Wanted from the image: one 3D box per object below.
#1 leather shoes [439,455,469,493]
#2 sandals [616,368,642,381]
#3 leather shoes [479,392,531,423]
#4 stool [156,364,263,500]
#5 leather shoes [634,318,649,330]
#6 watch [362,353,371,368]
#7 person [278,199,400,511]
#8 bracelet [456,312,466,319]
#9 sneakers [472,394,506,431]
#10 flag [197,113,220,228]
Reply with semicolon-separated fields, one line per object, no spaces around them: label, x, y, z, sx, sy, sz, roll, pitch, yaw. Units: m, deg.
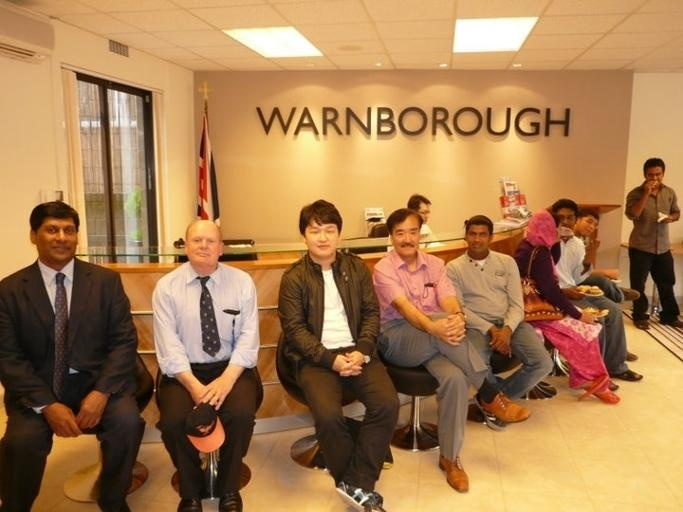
leather shoes;0.712;1.369;3.261;0.087;0.103;0.239;-4;9;-19
sandals;2.521;1.043;4.576;0.195;0.083;0.091;-3;3;16
leather shoes;1.190;1.131;3.901;0.406;0.166;0.173;4;29;35
stool;-0.754;0.975;2.963;0.466;0.833;0.317;0;5;-17
leather shoes;3.397;0.772;5.900;0.072;0.077;0.198;-4;4;1
watch;0.157;0.646;3.224;0.018;0.069;0.069;2;32;39
person;-0.050;0.573;3.189;0.696;1.731;0.910;-2;14;-8
bracelet;0.781;0.386;3.412;0.045;0.044;0.045;-2;1;-24
sneakers;1.074;1.185;3.947;0.112;0.126;0.309;-19;25;-40
flag;-1.687;-1.091;6.485;0.238;1.356;0.771;-4;14;-14
